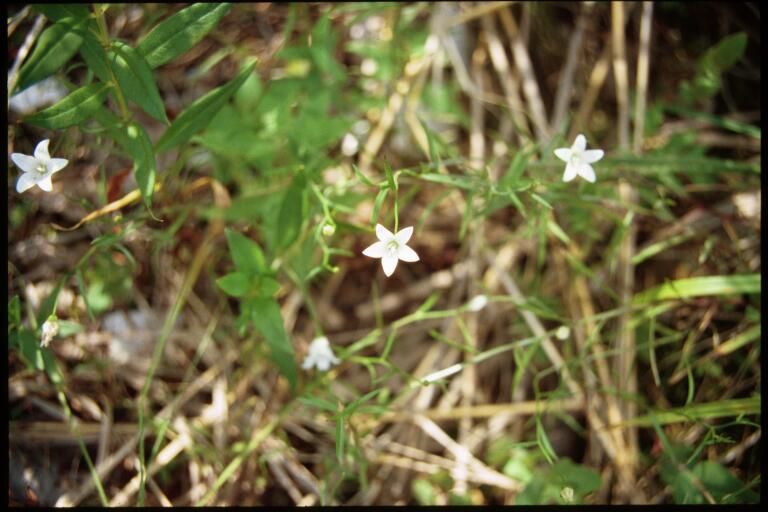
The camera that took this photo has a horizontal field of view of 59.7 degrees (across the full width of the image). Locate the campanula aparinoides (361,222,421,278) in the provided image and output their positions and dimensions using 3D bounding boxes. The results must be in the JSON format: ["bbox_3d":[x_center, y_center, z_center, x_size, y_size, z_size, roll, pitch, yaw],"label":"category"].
[{"bbox_3d":[0.036,0.007,2.880,0.214,0.253,0.211,14,66,9],"label":"campanula aparinoides"}]

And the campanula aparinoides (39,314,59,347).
[{"bbox_3d":[-1.501,0.321,3.018,0.102,0.161,0.060,43,44,8],"label":"campanula aparinoides"}]

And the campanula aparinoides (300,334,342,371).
[{"bbox_3d":[-0.301,0.480,3.075,0.160,0.205,0.137,-43,70,-16],"label":"campanula aparinoides"}]
